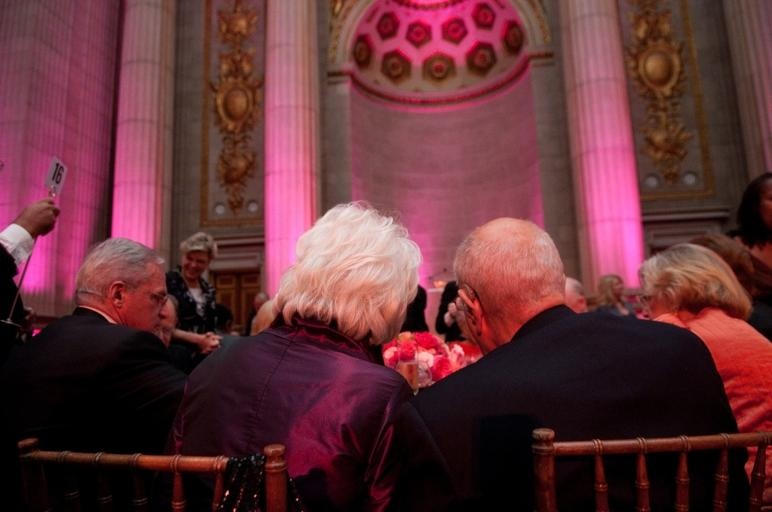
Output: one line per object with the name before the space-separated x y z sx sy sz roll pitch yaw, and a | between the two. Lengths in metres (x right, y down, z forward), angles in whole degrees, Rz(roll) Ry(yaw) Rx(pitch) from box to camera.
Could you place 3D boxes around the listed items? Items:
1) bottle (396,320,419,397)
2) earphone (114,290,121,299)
bottle | 0.143 0.582 3.469 0.135 0.140 0.408 6 -49 11
earphone | -1.252 0.183 2.910 0.028 0.025 0.023 2 -4 -8
